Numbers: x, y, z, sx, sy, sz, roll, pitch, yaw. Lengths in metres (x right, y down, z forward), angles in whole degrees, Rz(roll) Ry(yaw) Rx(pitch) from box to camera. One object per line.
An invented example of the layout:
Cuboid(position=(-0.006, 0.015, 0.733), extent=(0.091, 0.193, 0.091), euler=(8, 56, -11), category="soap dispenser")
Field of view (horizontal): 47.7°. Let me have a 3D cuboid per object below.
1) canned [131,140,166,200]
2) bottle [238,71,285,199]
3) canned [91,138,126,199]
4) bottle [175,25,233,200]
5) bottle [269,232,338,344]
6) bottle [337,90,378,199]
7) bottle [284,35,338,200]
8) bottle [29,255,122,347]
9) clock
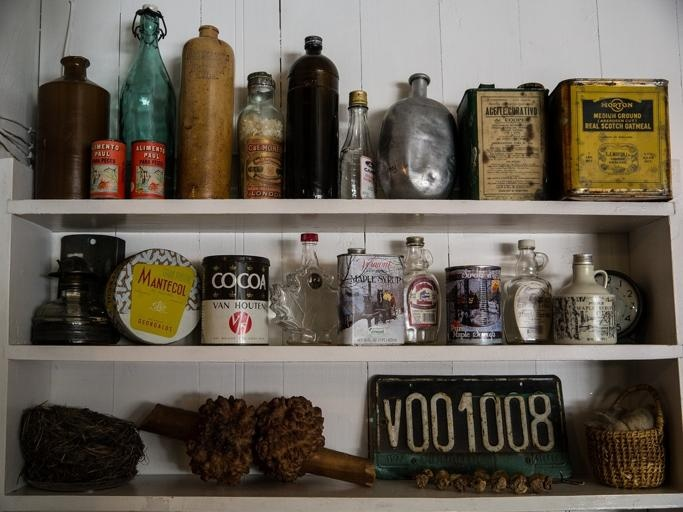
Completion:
Cuboid(position=(-0.499, -0.219, 1.991), extent=(0.090, 0.147, 0.064), euler=(0, 0, -17), category="canned")
Cuboid(position=(-0.212, -0.318, 2.030), extent=(0.117, 0.334, 0.085), euler=(0, 0, -7), category="bottle")
Cuboid(position=(-0.601, -0.220, 1.984), extent=(0.088, 0.150, 0.063), euler=(0, 0, -20), category="canned")
Cuboid(position=(-0.353, -0.357, 2.008), extent=(0.139, 0.418, 0.064), euler=(0, 0, -15), category="bottle")
Cuboid(position=(-0.106, 0.098, 2.076), extent=(0.260, 0.369, 0.056), euler=(0, -3, -7), category="bottle")
Cuboid(position=(0.043, -0.291, 2.071), extent=(0.097, 0.285, 0.186), euler=(0, 1, 2), category="bottle")
Cuboid(position=(-0.079, -0.339, 2.032), extent=(0.137, 0.375, 0.067), euler=(0, 0, -7), category="bottle")
Cuboid(position=(-0.693, 0.135, 1.998), extent=(0.201, 0.250, 0.213), euler=(4, -11, -27), category="bottle")
Cuboid(position=(0.711, 0.132, 2.016), extent=(0.154, 0.206, 0.040), euler=(2, -14, 3), category="clock")
